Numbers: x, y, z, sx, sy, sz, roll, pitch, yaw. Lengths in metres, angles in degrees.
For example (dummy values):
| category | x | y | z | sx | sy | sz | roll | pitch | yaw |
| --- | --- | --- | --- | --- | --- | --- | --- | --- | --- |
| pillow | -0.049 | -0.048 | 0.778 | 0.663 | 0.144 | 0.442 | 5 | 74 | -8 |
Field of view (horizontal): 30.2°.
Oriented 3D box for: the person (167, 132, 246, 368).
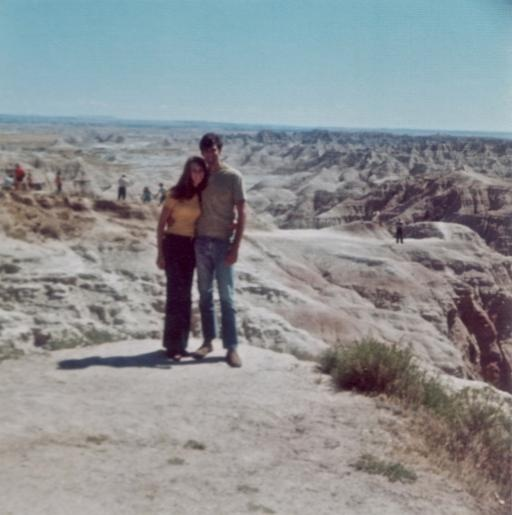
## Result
| category | x | y | z | sx | sy | sz | roll | pitch | yaw |
| --- | --- | --- | --- | --- | --- | --- | --- | --- | --- |
| person | -0.302 | -0.065 | 8.606 | 0.525 | 2.061 | 0.362 | 6 | 10 | 7 |
